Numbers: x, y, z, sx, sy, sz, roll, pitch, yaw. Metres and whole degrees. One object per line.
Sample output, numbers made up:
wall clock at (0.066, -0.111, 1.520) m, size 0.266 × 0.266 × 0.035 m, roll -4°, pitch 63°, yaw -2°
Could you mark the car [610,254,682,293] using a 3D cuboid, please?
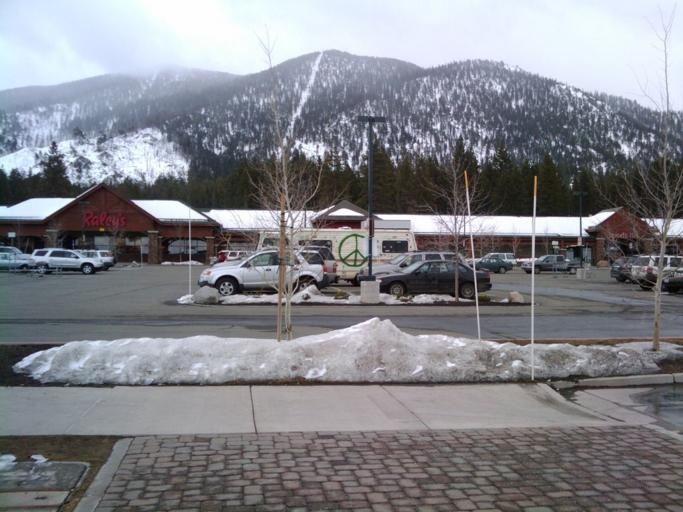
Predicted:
car at (12.963, 0.733, 28.635) m, size 2.643 × 1.215 × 1.392 m, roll -5°, pitch 4°, yaw -19°
